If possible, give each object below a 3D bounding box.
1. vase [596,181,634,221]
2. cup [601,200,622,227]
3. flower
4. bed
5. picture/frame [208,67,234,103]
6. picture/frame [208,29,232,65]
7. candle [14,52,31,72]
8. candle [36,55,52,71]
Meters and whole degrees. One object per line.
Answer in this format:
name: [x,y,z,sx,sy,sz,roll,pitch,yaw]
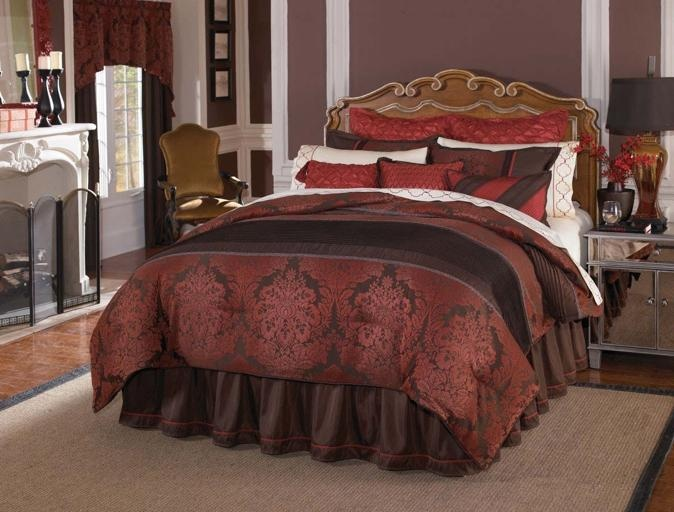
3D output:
vase: [1.801,-0.354,3.750,0.237,0.218,0.275,0,1,22]
cup: [1.664,-0.266,3.533,0.146,0.180,0.146,0,4,0]
flower: [1.823,-0.641,3.811,0.418,0.290,0.425,2,9,14]
bed: [0.341,-0.027,3.007,1.509,1.179,1.933,4,11,29]
picture/frame: [-1.391,-2.031,6.764,0.061,0.409,0.476,2,7,23]
picture/frame: [-1.382,-2.450,6.691,0.056,0.356,0.491,2,6,22]
candle: [-2.453,-1.510,4.470,0.085,0.170,0.233,-6,11,-29]
candle: [-2.306,-1.524,4.528,0.096,0.133,0.191,-5,11,-25]
